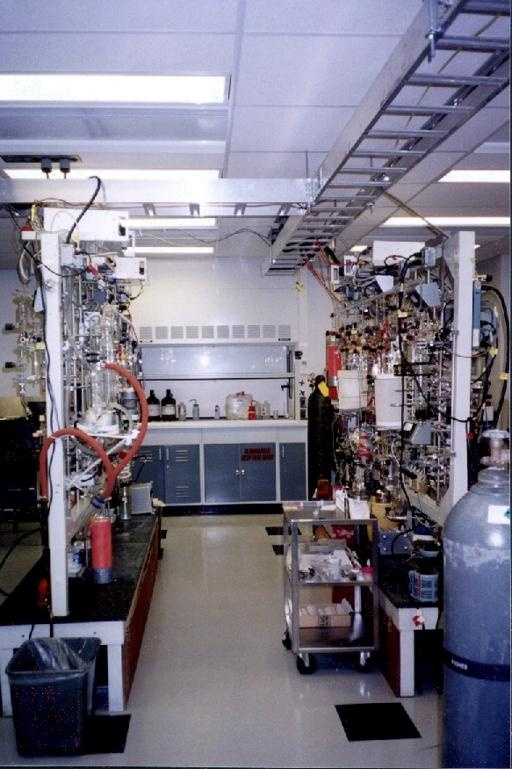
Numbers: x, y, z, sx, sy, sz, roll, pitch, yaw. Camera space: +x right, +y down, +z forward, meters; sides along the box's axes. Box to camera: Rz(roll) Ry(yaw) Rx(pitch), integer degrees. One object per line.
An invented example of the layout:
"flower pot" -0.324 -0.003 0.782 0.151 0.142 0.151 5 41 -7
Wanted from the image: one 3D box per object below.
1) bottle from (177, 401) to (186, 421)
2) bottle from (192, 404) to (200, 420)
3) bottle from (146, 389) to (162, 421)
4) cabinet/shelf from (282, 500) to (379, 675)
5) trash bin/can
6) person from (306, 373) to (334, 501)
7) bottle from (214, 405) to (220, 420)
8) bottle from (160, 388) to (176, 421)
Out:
"bottle" -0.832 0.291 7.233 0.100 0.186 0.169 0 2 -5
"bottle" -0.674 0.295 7.246 0.083 0.178 0.176 0 2 -3
"bottle" -1.117 0.218 7.079 0.147 0.319 0.383 0 2 -10
"cabinet/shelf" 0.389 1.030 3.486 0.379 0.758 0.856 -1 -1 2
"trash bin/can" -0.819 1.253 2.612 0.317 0.368 0.368 0 2 -4
"person" 0.623 0.498 6.559 0.305 1.358 0.293 -28 40 -34
"bottle" -0.441 0.296 7.332 0.068 0.159 0.102 0 2 -3
"bottle" -0.959 0.215 7.124 0.165 0.334 0.372 0 2 -7
